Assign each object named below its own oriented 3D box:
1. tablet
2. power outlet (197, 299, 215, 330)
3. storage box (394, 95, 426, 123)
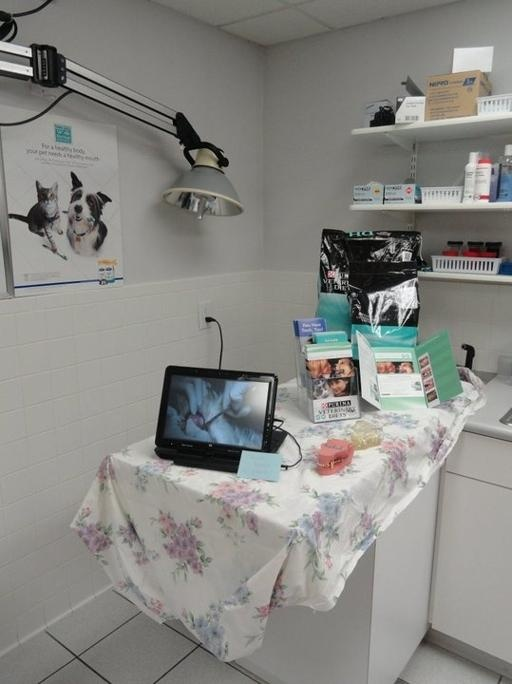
[{"bbox_3d":[-0.078,0.147,1.145,0.293,0.169,0.216,7,14,11],"label":"tablet"},{"bbox_3d":[-0.242,-0.136,2.292,0.016,0.197,0.145,0,-3,34],"label":"power outlet"},{"bbox_3d":[0.542,-0.819,1.682,0.120,0.113,0.065,5,12,16],"label":"storage box"}]
